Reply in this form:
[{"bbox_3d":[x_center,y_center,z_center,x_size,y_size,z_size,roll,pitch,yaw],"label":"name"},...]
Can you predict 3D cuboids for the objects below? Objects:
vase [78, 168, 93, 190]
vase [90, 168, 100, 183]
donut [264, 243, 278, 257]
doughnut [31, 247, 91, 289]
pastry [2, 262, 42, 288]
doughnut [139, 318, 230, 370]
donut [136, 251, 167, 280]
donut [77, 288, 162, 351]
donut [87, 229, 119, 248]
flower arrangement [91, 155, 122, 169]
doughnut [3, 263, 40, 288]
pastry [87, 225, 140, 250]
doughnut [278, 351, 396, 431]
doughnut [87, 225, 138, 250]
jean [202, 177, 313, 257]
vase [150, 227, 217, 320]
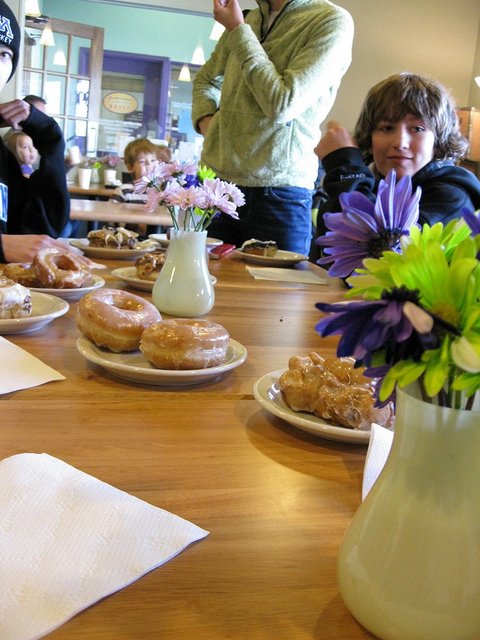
[{"bbox_3d":[-1.398,-1.272,4.574,0.096,0.188,0.163,7,10,-14],"label":"vase"},{"bbox_3d":[-1.629,-1.621,5.710,0.154,0.185,0.142,-1,17,-9],"label":"vase"},{"bbox_3d":[0.094,-0.246,1.786,0.038,0.047,0.050,9,10,-16],"label":"donut"},{"bbox_3d":[-0.351,-0.100,0.992,0.125,0.083,0.112,-2,12,-16],"label":"doughnut"},{"bbox_3d":[-0.433,-0.098,1.020,0.070,0.021,0.067,1,9,-35],"label":"pastry"},{"bbox_3d":[-0.071,0.029,0.666,0.115,0.053,0.120,14,11,35],"label":"doughnut"},{"bbox_3d":[-0.212,-0.136,1.192,0.075,0.029,0.078,5,19,5],"label":"donut"},{"bbox_3d":[-0.174,-0.009,0.722,0.114,0.042,0.124,37,26,28],"label":"donut"},{"bbox_3d":[-0.425,-0.247,1.567,0.071,0.022,0.066,10,7,-4],"label":"donut"},{"bbox_3d":[-1.509,-1.842,5.880,0.293,0.176,0.289,-8,12,-44],"label":"flower arrangement"},{"bbox_3d":[-0.425,-0.098,1.007,0.065,0.019,0.061,8,15,-27],"label":"doughnut"},{"bbox_3d":[-0.393,-0.254,1.623,0.114,0.041,0.105,3,4,1],"label":"pastry"},{"bbox_3d":[0.112,0.063,0.544,0.101,0.040,0.131,-25,22,-36],"label":"doughnut"},{"bbox_3d":[-0.394,-0.249,1.617,0.108,0.039,0.099,3,4,1],"label":"doughnut"},{"bbox_3d":[0.133,-0.407,2.253,0.493,0.388,0.533,5,11,17],"label":"jean"},{"bbox_3d":[-0.104,-0.092,0.962,0.132,0.155,0.123,5,17,-3],"label":"vase"}]
